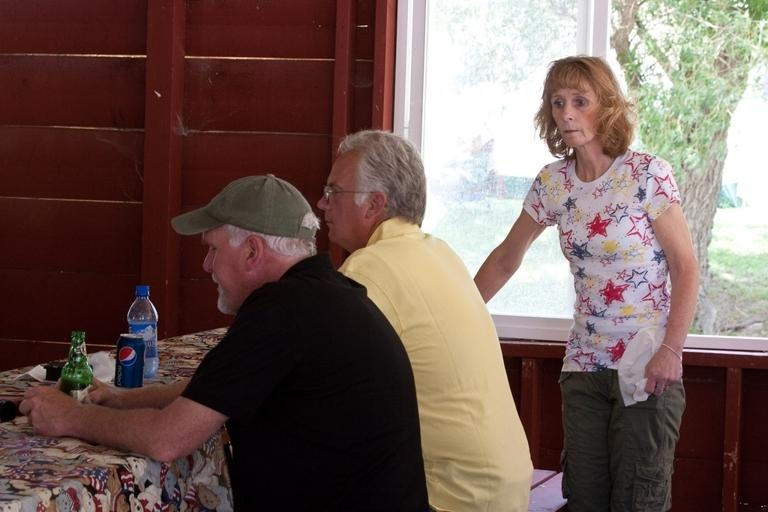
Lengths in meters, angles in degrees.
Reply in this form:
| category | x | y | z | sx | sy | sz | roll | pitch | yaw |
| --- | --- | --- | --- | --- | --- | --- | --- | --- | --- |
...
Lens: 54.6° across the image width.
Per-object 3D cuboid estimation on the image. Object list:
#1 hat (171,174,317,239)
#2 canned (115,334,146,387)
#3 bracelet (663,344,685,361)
| category | x | y | z | sx | sy | sz | roll | pitch | yaw |
| --- | --- | --- | --- | --- | --- | --- | --- | --- | --- |
| hat | -0.420 | -0.159 | 2.295 | 0.458 | 0.206 | 0.293 | 6 | 6 | -6 |
| canned | -0.839 | 0.342 | 2.459 | 0.118 | 0.159 | 0.116 | 5 | 0 | -33 |
| bracelet | 1.062 | 0.339 | 2.698 | 0.104 | 0.061 | 0.048 | 1 | 1 | -34 |
